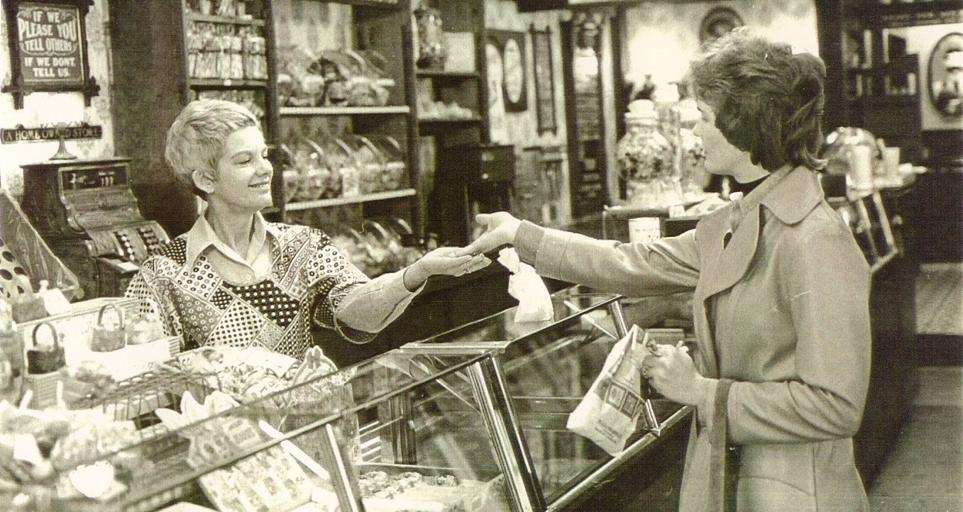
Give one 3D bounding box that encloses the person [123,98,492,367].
[{"bbox_3d":[-0.879,-0.091,4.791,1.361,1.486,0.650,-13,5,-37],"label":"person"}]
